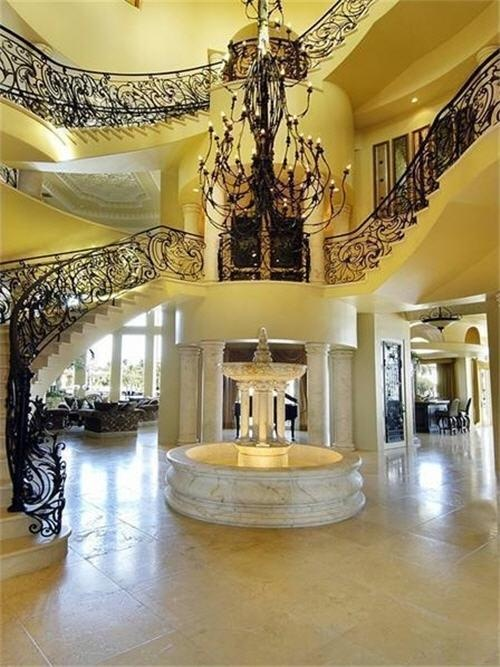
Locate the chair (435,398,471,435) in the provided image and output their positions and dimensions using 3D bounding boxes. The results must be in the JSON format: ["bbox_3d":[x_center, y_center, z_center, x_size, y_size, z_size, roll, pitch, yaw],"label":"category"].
[{"bbox_3d":[5.836,2.425,14.544,0.429,0.714,1.039,-3,-11,38],"label":"chair"}]

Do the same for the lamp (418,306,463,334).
[{"bbox_3d":[3.834,-0.308,10.244,0.588,0.382,0.572,-2,-4,-42],"label":"lamp"}]

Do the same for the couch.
[{"bbox_3d":[-3.784,2.056,13.243,2.607,0.991,3.550,2,-5,-14],"label":"couch"}]
